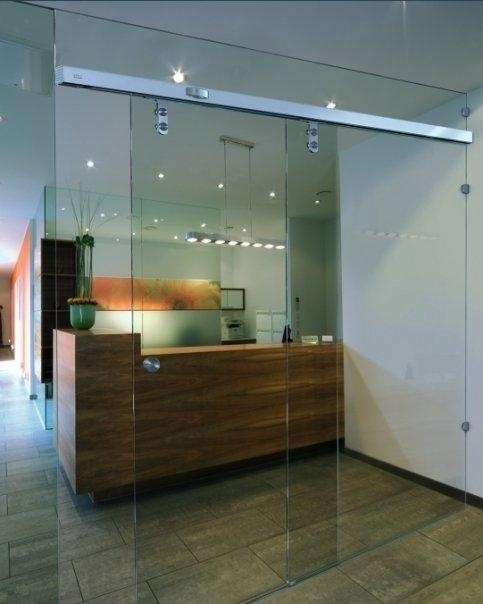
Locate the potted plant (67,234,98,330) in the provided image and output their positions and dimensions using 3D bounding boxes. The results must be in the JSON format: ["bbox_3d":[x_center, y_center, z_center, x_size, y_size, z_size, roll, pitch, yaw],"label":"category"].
[{"bbox_3d":[-0.819,-0.083,2.464,0.142,0.454,0.133,0,-2,-23],"label":"potted plant"}]
